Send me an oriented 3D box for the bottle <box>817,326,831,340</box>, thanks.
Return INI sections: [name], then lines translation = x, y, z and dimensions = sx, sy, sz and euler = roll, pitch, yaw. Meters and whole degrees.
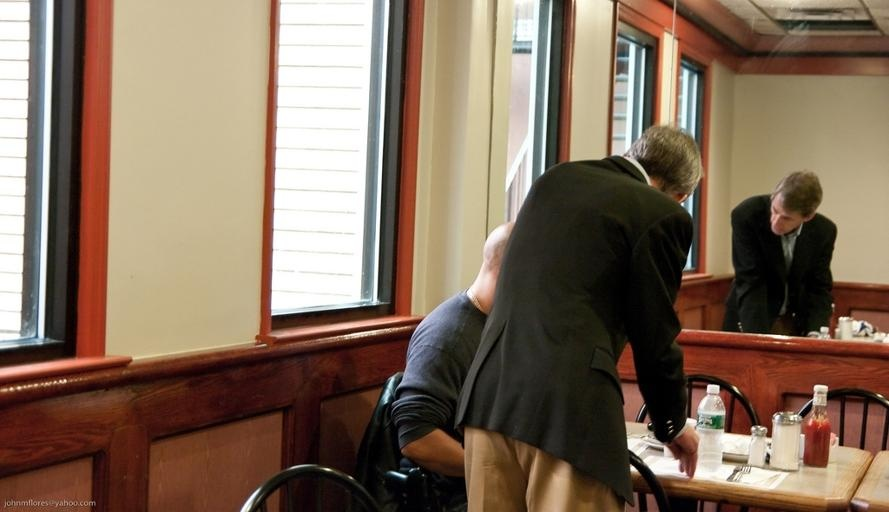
[bottle]
translation = 2.115, 0.430, 4.086
dimensions = 0.063, 0.064, 0.054
euler = -1, -1, 5
